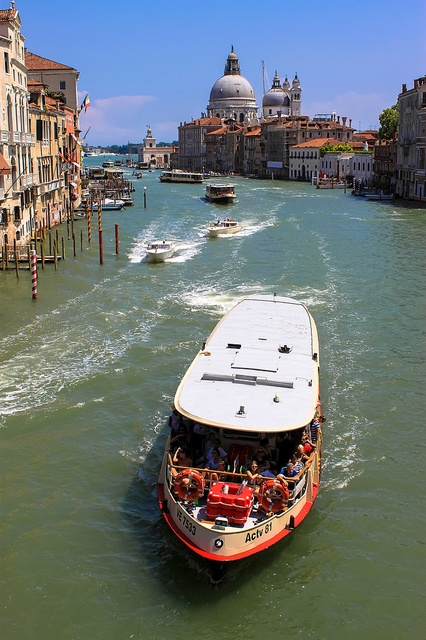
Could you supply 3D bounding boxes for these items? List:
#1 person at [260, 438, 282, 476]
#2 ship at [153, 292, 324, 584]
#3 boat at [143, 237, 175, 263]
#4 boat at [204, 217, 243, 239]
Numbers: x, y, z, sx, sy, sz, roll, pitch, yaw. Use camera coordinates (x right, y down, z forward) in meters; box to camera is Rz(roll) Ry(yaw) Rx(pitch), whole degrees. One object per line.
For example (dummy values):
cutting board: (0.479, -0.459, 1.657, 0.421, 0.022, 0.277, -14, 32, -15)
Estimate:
person: (1.329, 2.822, 14.188, 0.441, 0.762, 0.674, 1, -1, -4)
ship: (0.748, 2.490, 15.333, 2.026, 2.024, 7.545, 2, 22, 6)
boat: (-3.722, -4.841, 48.462, 1.727, 1.215, 2.769, 0, 11, -3)
boat: (0.967, -8.512, 63.489, 1.781, 1.302, 3.915, 6, 13, 28)
